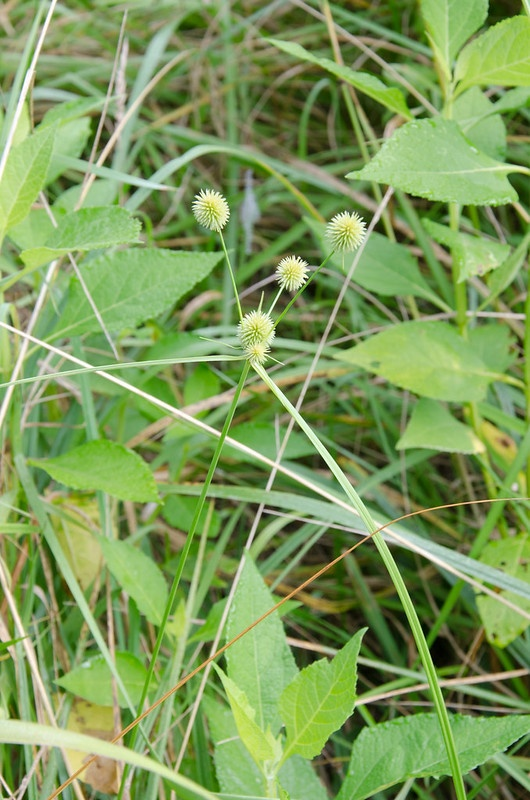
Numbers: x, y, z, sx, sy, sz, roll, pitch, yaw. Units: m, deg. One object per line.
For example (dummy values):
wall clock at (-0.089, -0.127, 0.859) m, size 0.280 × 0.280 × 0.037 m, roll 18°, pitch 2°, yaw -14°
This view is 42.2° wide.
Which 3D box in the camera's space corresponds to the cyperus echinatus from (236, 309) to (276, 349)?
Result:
cyperus echinatus at (-0.007, -0.051, 0.541) m, size 0.031 × 0.033 × 0.030 m, roll -3°, pitch 70°, yaw 0°
